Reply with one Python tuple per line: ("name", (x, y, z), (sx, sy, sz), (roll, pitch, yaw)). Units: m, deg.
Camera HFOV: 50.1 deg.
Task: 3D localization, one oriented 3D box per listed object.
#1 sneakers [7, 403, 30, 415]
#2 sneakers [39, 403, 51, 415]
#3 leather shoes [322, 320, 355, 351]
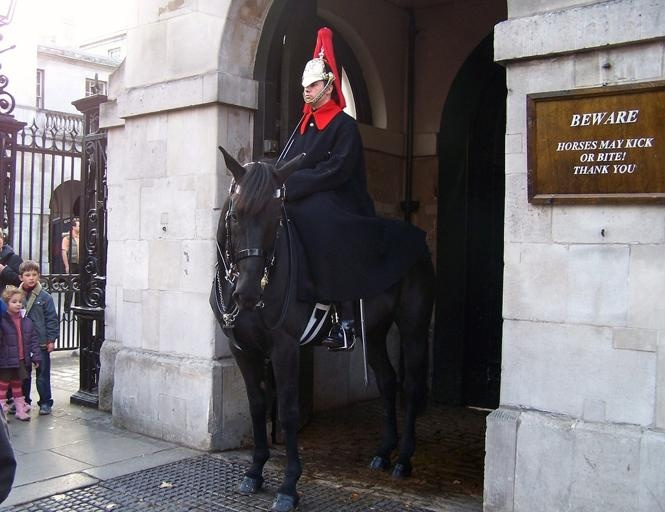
("sneakers", (-3.114, 1.523, 7.097), (0.215, 0.183, 0.082), (-4, -4, 12))
("sneakers", (-2.876, 1.531, 7.129), (0.119, 0.088, 0.142), (-1, 3, -26))
("leather shoes", (0.061, 0.588, 5.290), (0.250, 0.278, 0.163), (-1, -7, 31))
